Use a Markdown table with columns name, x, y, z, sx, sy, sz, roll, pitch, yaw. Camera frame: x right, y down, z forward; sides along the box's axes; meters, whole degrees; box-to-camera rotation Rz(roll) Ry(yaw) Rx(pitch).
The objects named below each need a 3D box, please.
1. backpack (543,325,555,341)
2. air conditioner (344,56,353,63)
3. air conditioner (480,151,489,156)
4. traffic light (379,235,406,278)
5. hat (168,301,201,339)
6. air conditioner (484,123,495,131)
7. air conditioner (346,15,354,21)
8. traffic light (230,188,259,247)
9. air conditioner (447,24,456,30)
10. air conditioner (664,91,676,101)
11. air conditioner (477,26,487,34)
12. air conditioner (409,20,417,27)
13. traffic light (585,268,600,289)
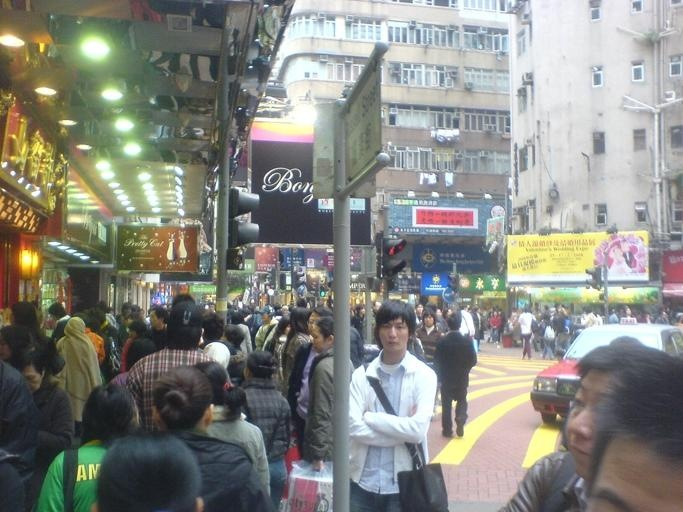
| name | x | y | z | sx | sy | sz | roll | pitch | yaw |
| --- | --- | --- | --- | --- | --- | --- | --- | --- | --- |
| backpack | 7.711 | 2.873 | 23.911 | 0.365 | 0.572 | 0.186 | 5 | -10 | -1 |
| air conditioner | 0.591 | -15.142 | 49.341 | 0.722 | 0.450 | 0.562 | 2 | 5 | 3 |
| air conditioner | 11.108 | -7.976 | 49.728 | 0.556 | 0.355 | 0.382 | 2 | -5 | -6 |
| traffic light | 0.999 | 0.020 | 12.328 | 0.476 | 0.824 | 1.218 | 1 | -6 | 5 |
| hat | -1.160 | 0.472 | 4.828 | 0.262 | 0.266 | 0.218 | 6 | -7 | -35 |
| air conditioner | 11.533 | -9.964 | 49.875 | 0.754 | 0.615 | 0.416 | 1 | 2 | -8 |
| air conditioner | 0.640 | -18.473 | 49.708 | 0.522 | 0.325 | 0.379 | 6 | 1 | 6 |
| traffic light | -1.210 | -0.505 | 8.023 | 0.370 | 0.802 | 0.652 | 3 | -6 | -9 |
| air conditioner | 8.843 | -18.534 | 51.445 | 0.679 | 0.552 | 0.385 | -5 | 17 | -25 |
| air conditioner | 18.308 | -8.930 | 35.733 | 0.505 | 0.565 | 0.141 | -2 | -7 | 35 |
| air conditioner | 11.454 | -18.342 | 52.190 | 0.859 | 0.707 | 0.532 | 7 | 16 | 2 |
| air conditioner | 5.633 | -18.230 | 50.444 | 0.538 | 0.617 | 0.404 | 1 | 4 | -5 |
| traffic light | 8.484 | 0.732 | 21.578 | 0.442 | 0.671 | 1.209 | 0 | -7 | 20 |
